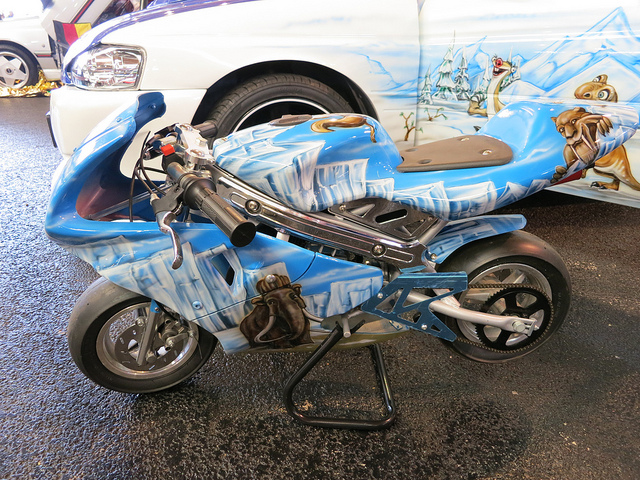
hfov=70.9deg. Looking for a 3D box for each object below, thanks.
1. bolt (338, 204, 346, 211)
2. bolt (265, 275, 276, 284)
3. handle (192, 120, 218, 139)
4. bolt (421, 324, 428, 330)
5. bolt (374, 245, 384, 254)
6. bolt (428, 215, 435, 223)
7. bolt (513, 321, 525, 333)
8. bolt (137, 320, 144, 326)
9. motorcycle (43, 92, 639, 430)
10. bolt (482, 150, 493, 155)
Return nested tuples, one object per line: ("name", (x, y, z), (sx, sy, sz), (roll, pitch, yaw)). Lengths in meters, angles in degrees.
("bolt", (0.092, -0.134, 1.829), (0.029, 0.026, 0.011), (-10, 40, -10))
("bolt", (-0.202, 0.159, 1.844), (0.038, 0.040, 0.018), (-17, 41, -18))
("handle", (-0.495, -0.489, 1.982), (0.083, 0.059, 0.121), (28, 12, -11))
("bolt", (0.463, 0.382, 1.992), (0.032, 0.024, 0.006), (0, 4, -4))
("bolt", (0.244, 0.038, 1.871), (0.043, 0.029, 0.008), (9, 15, -4))
("bolt", (0.471, -0.089, 1.895), (0.030, 0.019, 0.006), (5, 18, -9))
("bolt", (0.901, 0.389, 2.031), (0.068, 0.045, 0.018), (-6, 23, -10))
("bolt", (-0.829, 0.379, 2.069), (0.032, 0.020, 0.029), (-7, -1, 23))
("motorcycle", (0.649, -0.090, 2.483), (3.678, 1.358, 1.187), (-1, 26, -9))
("bolt", (0.718, -0.375, 1.929), (0.030, 0.008, 0.022), (12, 25, 44))
